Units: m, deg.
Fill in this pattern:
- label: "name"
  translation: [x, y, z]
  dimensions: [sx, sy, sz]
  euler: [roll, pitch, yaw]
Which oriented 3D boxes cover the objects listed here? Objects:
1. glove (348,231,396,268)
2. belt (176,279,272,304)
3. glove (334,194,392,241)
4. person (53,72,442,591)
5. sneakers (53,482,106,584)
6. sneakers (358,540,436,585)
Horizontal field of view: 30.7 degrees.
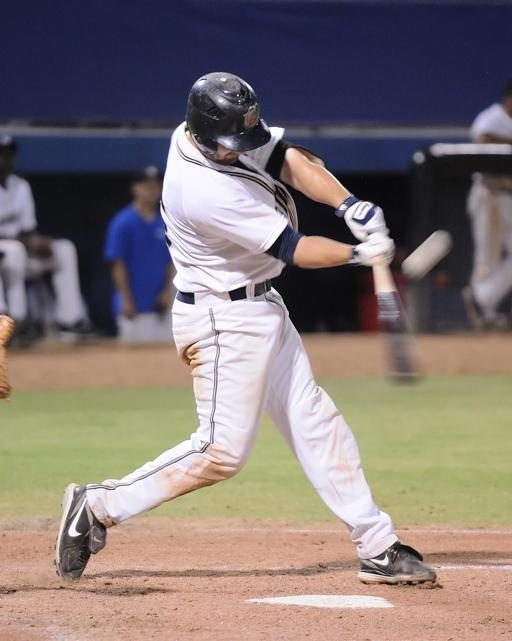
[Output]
- label: "glove"
  translation: [0.273, -0.159, 2.082]
  dimensions: [0.101, 0.067, 0.041]
  euler: [12, -31, 28]
- label: "belt"
  translation: [-0.078, -0.060, 2.270]
  dimensions: [0.119, 0.023, 0.103]
  euler: [-9, -5, 27]
- label: "glove"
  translation: [0.241, -0.234, 2.166]
  dimensions: [0.094, 0.126, 0.051]
  euler: [-44, -12, -20]
- label: "person"
  translation: [-0.059, 0.034, 2.300]
  dimensions: [0.863, 1.274, 0.394]
  euler: [-2, 3, 21]
- label: "sneakers"
  translation: [-0.450, 0.538, 2.404]
  dimensions: [0.171, 0.246, 0.098]
  euler: [7, 4, 7]
- label: "sneakers"
  translation: [0.351, 0.618, 2.356]
  dimensions: [0.216, 0.082, 0.096]
  euler: [-3, -8, 14]
